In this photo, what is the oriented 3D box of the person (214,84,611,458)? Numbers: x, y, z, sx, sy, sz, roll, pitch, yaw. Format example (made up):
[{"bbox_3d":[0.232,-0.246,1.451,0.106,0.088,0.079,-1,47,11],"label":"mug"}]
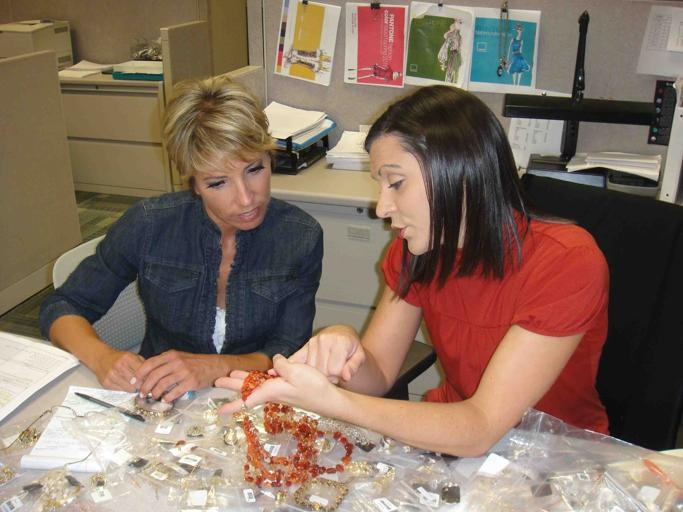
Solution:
[{"bbox_3d":[0.178,-0.150,1.510,0.945,1.476,0.611,-14,26,-13],"label":"person"}]

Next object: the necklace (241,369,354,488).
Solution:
[{"bbox_3d":[-0.085,0.339,0.908,0.204,0.090,0.157,20,40,26],"label":"necklace"}]

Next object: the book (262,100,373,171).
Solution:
[{"bbox_3d":[-0.135,-0.548,2.282,0.368,0.187,0.527,2,28,17],"label":"book"}]
